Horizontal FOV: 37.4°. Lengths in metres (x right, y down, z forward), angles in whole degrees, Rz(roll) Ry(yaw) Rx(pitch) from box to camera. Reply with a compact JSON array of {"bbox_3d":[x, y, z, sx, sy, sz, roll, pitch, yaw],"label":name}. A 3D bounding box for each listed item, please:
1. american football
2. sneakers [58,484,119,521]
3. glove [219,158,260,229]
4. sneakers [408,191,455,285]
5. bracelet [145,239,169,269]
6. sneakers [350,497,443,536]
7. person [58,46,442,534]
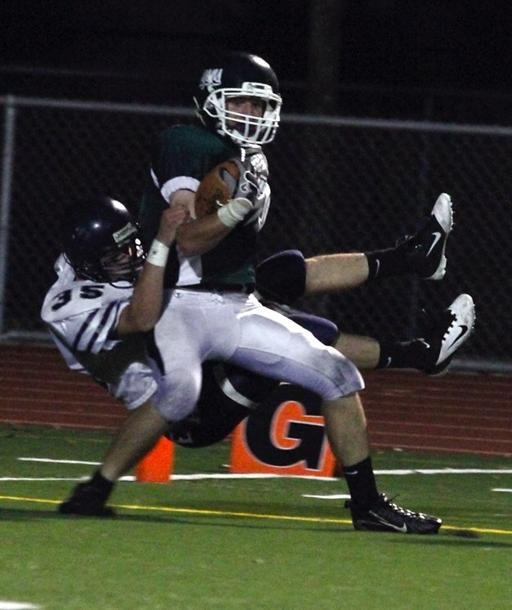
[{"bbox_3d":[-0.080,-0.264,1.757,0.109,0.144,0.084,42,18,-6],"label":"american football"},{"bbox_3d":[-0.399,0.463,1.779,0.185,0.088,0.055,7,23,-26],"label":"sneakers"},{"bbox_3d":[-0.014,-0.264,1.757,0.110,0.114,0.146,9,57,13],"label":"glove"},{"bbox_3d":[0.632,-0.236,2.623,0.137,0.300,0.167,14,1,37],"label":"sneakers"},{"bbox_3d":[-0.224,-0.115,1.704,0.050,0.063,0.030,4,18,0],"label":"bracelet"},{"bbox_3d":[0.329,0.514,1.849,0.271,0.077,0.072,1,-12,3],"label":"sneakers"},{"bbox_3d":[0.021,-0.018,1.955,1.084,0.850,0.432,1,24,-13],"label":"person"}]
